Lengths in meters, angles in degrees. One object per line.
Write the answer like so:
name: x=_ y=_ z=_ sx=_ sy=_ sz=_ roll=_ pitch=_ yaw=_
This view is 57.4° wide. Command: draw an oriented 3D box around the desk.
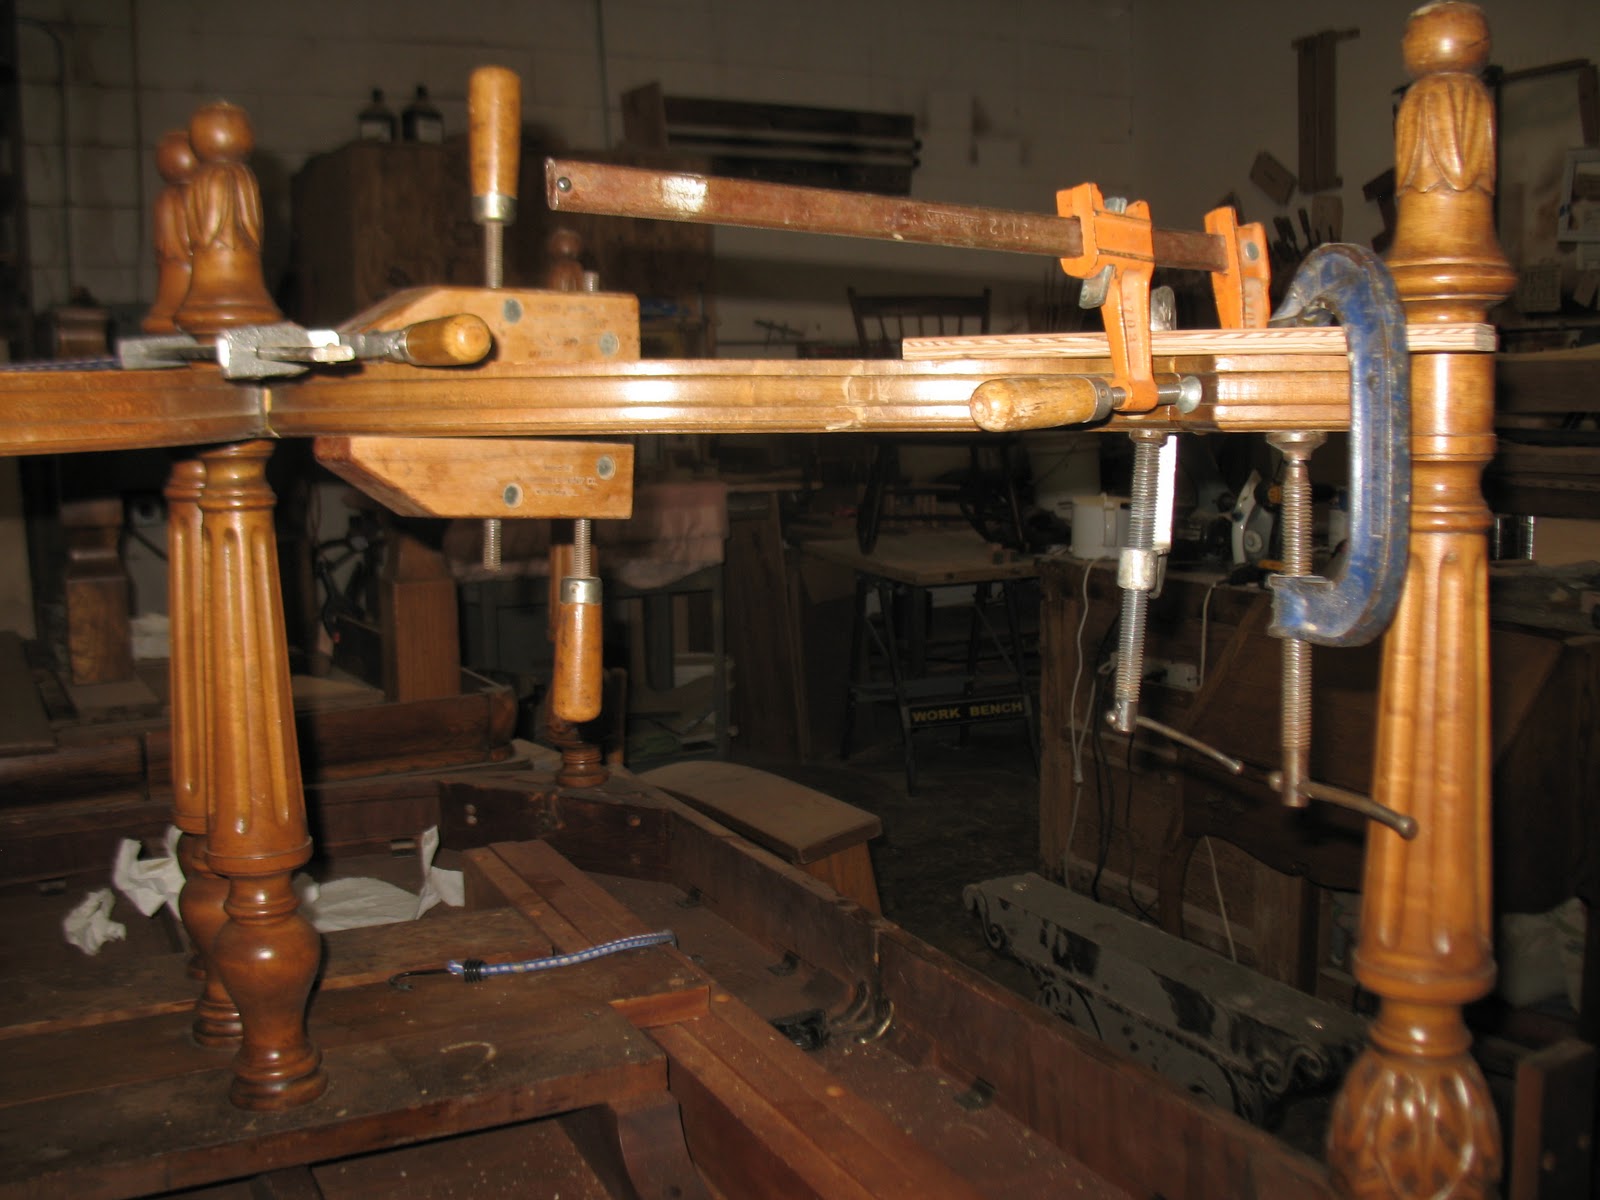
desk: x=0.589 y=0.270 z=6.414 sx=1.379 sy=0.839 sz=1.277 roll=6 pitch=8 yaw=41
